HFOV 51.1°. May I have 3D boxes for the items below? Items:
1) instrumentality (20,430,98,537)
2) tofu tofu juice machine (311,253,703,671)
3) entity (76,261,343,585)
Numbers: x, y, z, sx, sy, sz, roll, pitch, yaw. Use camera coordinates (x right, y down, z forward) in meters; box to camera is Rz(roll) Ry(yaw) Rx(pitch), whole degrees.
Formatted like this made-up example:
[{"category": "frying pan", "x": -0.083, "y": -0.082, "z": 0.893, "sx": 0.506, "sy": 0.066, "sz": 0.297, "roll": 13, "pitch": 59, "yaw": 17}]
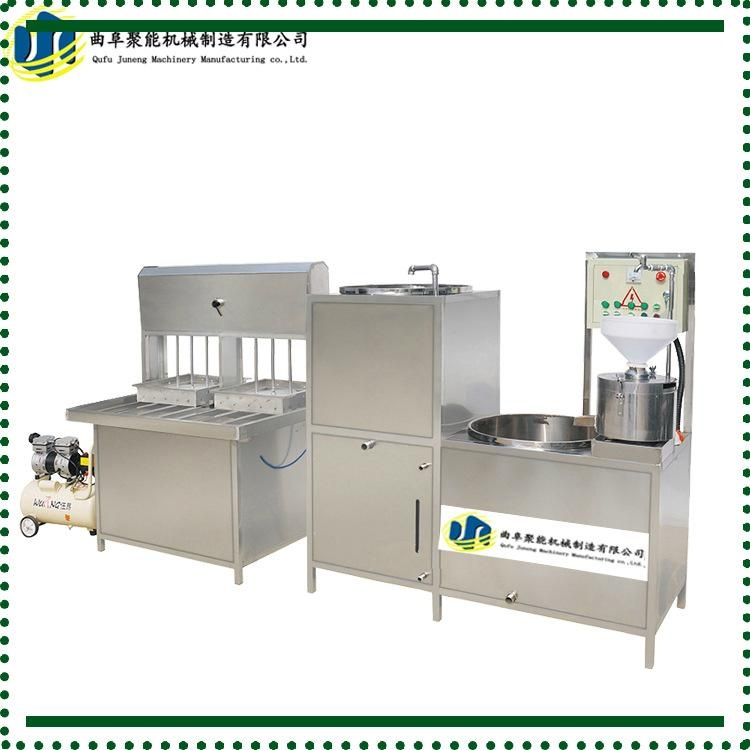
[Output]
[{"category": "instrumentality", "x": -1.667, "y": 0.582, "z": 4.220, "sx": 0.459, "sy": 0.545, "sz": 0.264, "roll": 4, "pitch": 11, "yaw": 10}, {"category": "tofu tofu juice machine", "x": 0.525, "y": 0.283, "z": 2.982, "sx": 1.326, "sy": 1.462, "sz": 0.540, "roll": 2, "pitch": 4, "yaw": 33}, {"category": "entity", "x": -0.886, "y": 0.134, "z": 3.925, "sx": 1.074, "sy": 1.484, "sz": 0.859, "roll": 4, "pitch": 4, "yaw": 30}]
